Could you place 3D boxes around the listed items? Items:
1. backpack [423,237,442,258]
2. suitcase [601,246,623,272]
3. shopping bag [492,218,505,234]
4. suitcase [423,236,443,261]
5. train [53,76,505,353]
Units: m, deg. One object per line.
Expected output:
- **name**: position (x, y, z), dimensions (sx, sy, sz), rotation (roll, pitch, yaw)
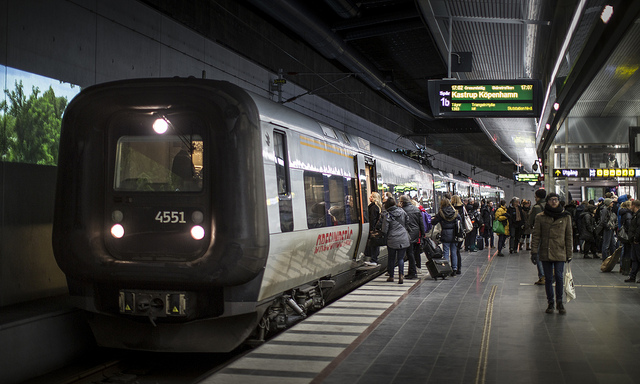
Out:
- **backpack**: position (3.165, 1.525, 11.999), dimensions (0.442, 0.549, 0.209), rotation (11, -41, -36)
- **suitcase**: position (9.013, 2.095, 13.184), dimensions (0.186, 0.755, 0.560), rotation (37, -6, 23)
- **shopping bag**: position (7.203, 1.353, 17.155), dimensions (0.534, 0.648, 0.306), rotation (-2, -3, 0)
- **suitcase**: position (3.127, 1.583, 12.038), dimensions (0.393, 0.627, 0.224), rotation (19, -51, -36)
- **train**: position (-1.195, 0.545, 8.063), dimensions (2.519, 4.682, 5.752), rotation (-5, -4, 41)
